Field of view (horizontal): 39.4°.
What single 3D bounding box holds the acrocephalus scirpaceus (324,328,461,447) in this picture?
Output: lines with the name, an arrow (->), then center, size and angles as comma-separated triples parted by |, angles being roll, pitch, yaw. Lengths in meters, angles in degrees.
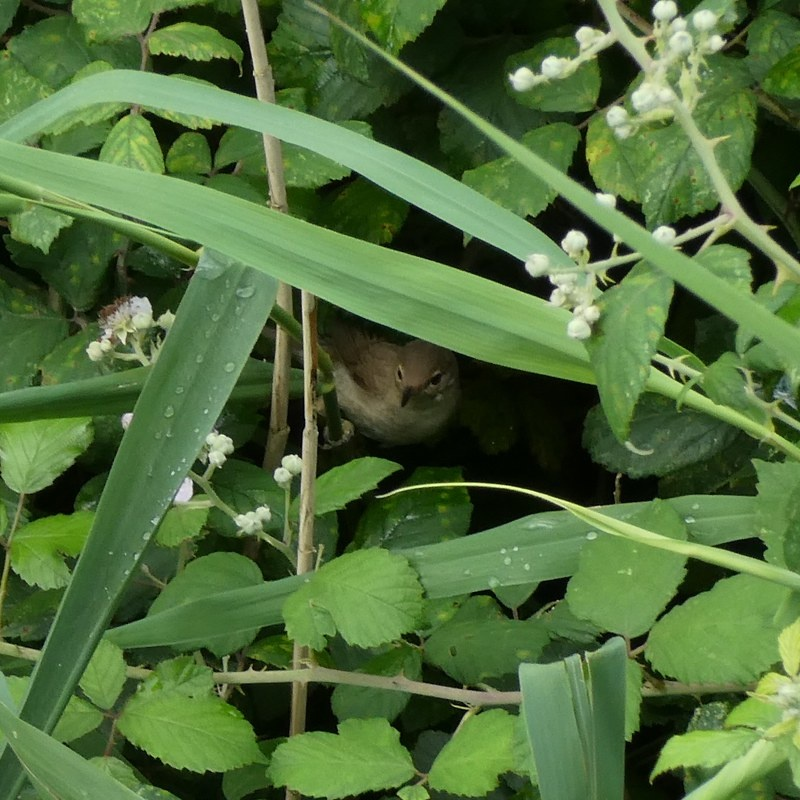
acrocephalus scirpaceus -> -0.031, -0.023, 2.100 | 0.251, 0.227, 0.120 | 5, 42, 17
